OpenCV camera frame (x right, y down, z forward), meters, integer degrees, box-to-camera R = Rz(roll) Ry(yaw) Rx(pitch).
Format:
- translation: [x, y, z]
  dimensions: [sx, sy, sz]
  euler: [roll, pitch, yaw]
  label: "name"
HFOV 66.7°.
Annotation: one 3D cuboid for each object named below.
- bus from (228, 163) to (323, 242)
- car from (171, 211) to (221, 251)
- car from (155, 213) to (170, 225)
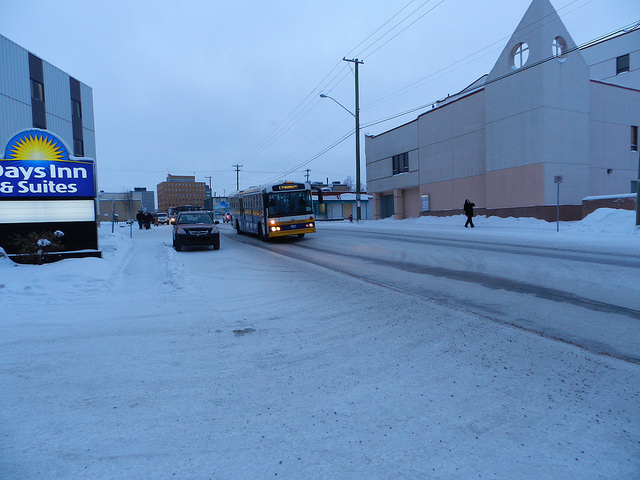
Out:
- translation: [-2.485, -1.415, 24.658]
  dimensions: [2.201, 2.678, 6.968]
  euler: [-4, 2, -21]
  label: "bus"
- translation: [-4.865, -0.360, 19.092]
  dimensions: [1.658, 1.473, 1.855]
  euler: [-2, 4, -20]
  label: "car"
- translation: [-18.274, -2.550, 56.328]
  dimensions: [1.453, 1.397, 3.078]
  euler: [-1, 0, -26]
  label: "car"
